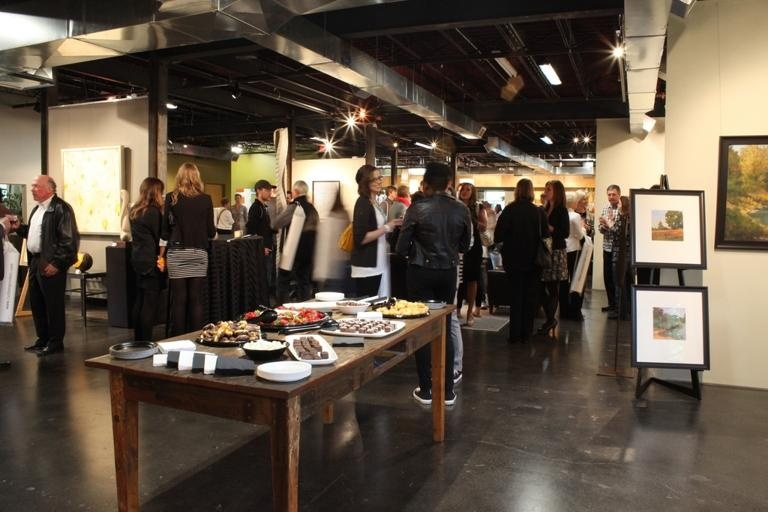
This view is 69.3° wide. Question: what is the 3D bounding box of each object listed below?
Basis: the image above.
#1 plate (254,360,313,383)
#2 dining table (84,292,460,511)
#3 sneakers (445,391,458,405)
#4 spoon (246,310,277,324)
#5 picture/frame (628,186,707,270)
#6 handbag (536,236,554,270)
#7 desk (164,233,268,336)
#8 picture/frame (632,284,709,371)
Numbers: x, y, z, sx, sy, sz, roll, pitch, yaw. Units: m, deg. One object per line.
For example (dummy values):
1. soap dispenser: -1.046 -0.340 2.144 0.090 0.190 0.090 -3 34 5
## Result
1. plate: -0.596 0.674 3.276 0.311 0.075 0.216 -3 11 -18
2. dining table: -0.778 0.268 3.646 1.380 1.155 2.567 3 6 25
3. sneakers: 0.633 1.344 5.262 0.190 0.098 0.283 -1 -9 3
4. spoon: -0.921 0.442 4.097 0.303 0.094 0.090 -7 -33 40
5. picture/frame: 2.864 -0.271 5.601 0.844 0.873 0.061 1 -8 1
6. handbag: 2.050 -0.035 7.118 0.206 0.516 0.458 0 -1 21
7. desk: -1.914 0.358 7.433 1.000 1.028 1.032 -5 -6 34
8. picture/frame: 2.849 0.719 5.498 0.871 0.960 0.048 1 -8 1
